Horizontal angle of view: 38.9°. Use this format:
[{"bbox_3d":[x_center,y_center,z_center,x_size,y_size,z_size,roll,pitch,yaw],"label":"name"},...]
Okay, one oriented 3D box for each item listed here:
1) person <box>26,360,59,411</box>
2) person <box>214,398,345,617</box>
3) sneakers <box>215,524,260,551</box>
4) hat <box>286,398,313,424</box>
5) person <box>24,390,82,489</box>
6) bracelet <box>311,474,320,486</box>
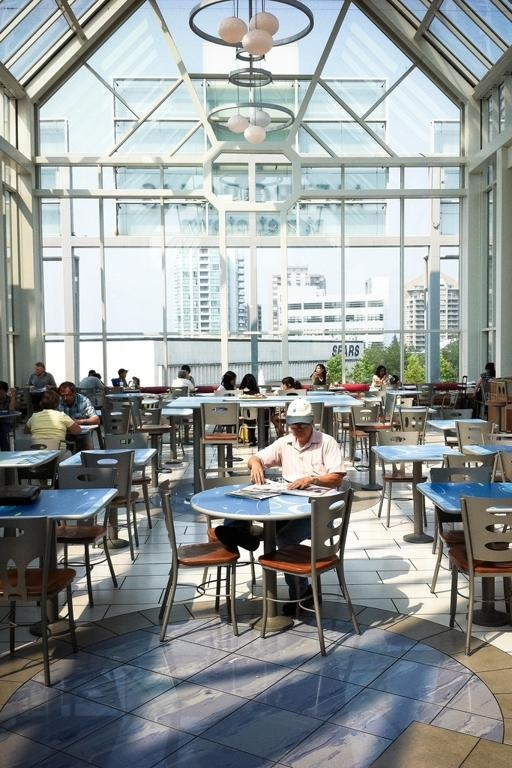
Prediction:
[{"bbox_3d":[-3.839,0.248,12.892,0.493,1.217,0.412,1,5,-7],"label":"person"},{"bbox_3d":[0.143,0.640,4.024,0.525,1.146,0.847,-7,-13,44],"label":"person"},{"bbox_3d":[-0.089,0.801,3.820,0.214,0.125,0.077,7,14,19],"label":"sneakers"},{"bbox_3d":[0.242,0.157,3.996,0.136,0.146,0.210,-1,2,5],"label":"hat"},{"bbox_3d":[-1.767,0.504,6.408,0.431,0.914,0.528,2,2,2],"label":"person"},{"bbox_3d":[0.326,0.526,3.957,0.046,0.071,0.066,0,-38,-4],"label":"bracelet"}]
